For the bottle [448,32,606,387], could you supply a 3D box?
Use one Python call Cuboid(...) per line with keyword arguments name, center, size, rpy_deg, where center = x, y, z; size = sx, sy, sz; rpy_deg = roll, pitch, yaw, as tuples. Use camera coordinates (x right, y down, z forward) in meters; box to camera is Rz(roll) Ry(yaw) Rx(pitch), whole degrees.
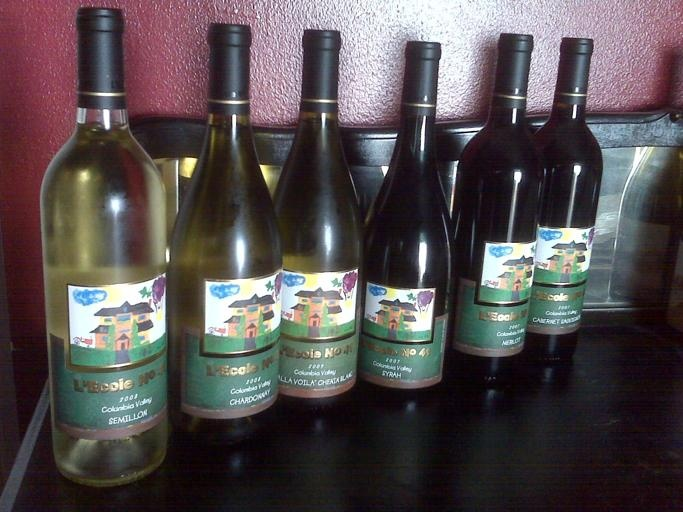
Cuboid(name="bottle", center=(0.240, -0.066, 0.892), size=(0.150, 0.457, 0.256), rpy_deg=(16, 29, 38))
